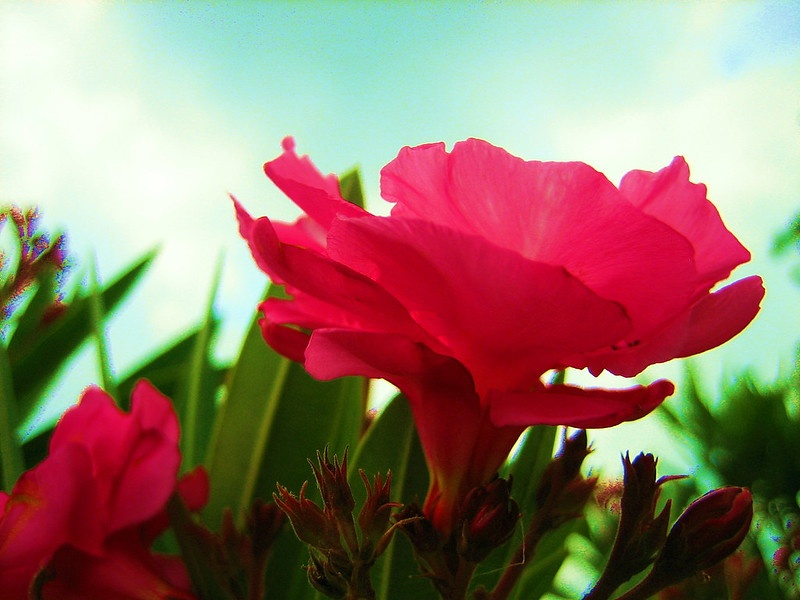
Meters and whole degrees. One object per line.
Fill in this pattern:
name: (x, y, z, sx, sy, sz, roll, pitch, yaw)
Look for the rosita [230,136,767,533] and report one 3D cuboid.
rosita: (0.038, 0.021, 0.364, 0.180, 0.143, 0.208, 6, -3, 21)
